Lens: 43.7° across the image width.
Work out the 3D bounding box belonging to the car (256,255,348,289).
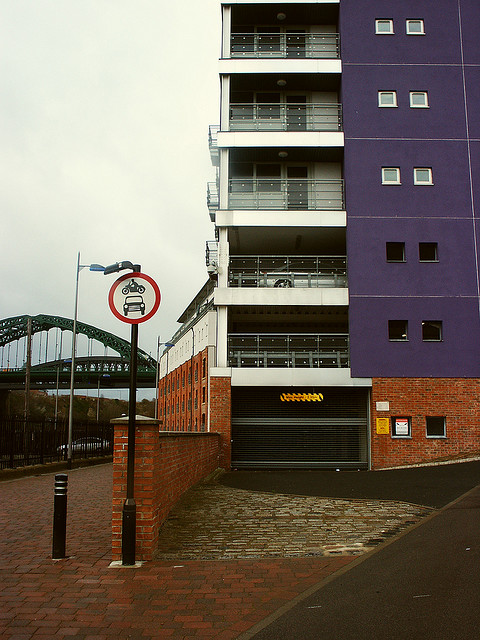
[{"bbox_3d":[2.541,-1.848,23.693,3.180,1.707,2.165,0,-9,3],"label":"car"}]

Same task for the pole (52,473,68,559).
[{"bbox_3d":[-1.855,2.033,6.212,0.148,0.826,0.368,3,-9,-16],"label":"pole"}]

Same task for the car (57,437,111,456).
[{"bbox_3d":[-6.351,5.312,25.245,1.228,0.693,7.588,2,-9,-7],"label":"car"}]
